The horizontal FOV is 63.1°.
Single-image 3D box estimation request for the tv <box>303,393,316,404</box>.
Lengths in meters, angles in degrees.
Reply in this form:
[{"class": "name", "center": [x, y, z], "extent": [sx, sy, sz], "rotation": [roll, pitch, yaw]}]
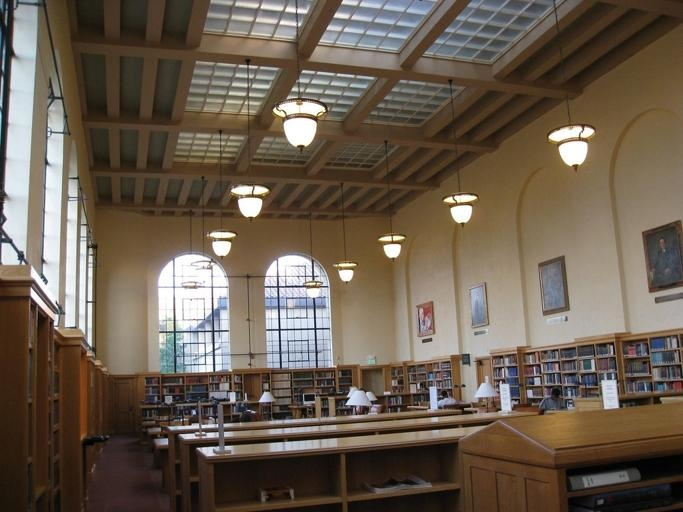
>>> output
[{"class": "tv", "center": [-1.092, 4.801, 18.704], "extent": [0.489, 0.502, 0.297], "rotation": [1, -14, -6]}]
